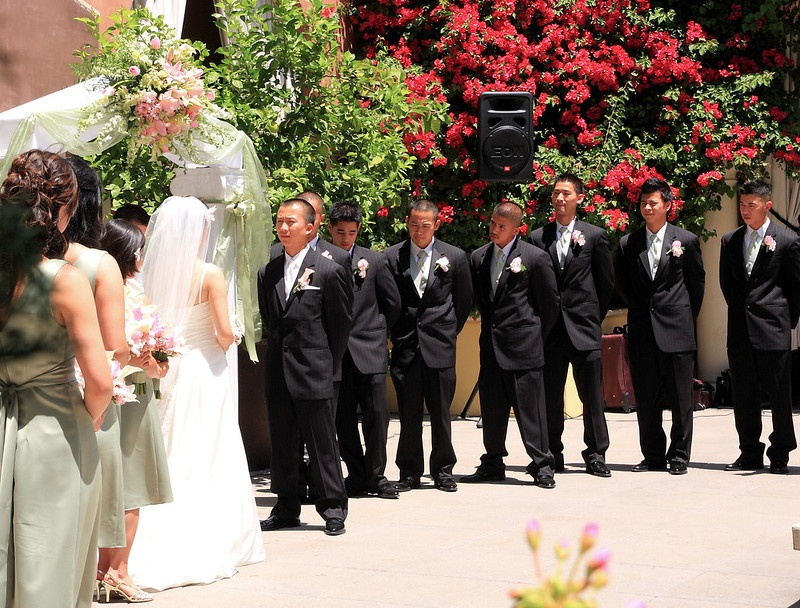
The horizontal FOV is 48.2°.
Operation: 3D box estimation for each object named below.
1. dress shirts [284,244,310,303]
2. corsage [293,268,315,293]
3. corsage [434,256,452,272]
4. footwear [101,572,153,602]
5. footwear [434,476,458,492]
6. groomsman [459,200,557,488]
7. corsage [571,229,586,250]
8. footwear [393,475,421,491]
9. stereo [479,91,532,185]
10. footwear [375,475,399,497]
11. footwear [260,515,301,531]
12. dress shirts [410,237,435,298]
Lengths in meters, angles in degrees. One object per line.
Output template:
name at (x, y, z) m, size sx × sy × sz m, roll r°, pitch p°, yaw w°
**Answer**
dress shirts at (-0.670, -0.189, 5.933) m, size 0.160 × 0.337 × 0.072 m, roll 9°, pitch 1°, yaw 30°
corsage at (-0.622, -0.156, 5.787) m, size 0.112 × 0.072 × 0.162 m, roll -2°, pitch -18°, yaw -7°
corsage at (0.337, -0.313, 7.087) m, size 0.115 × 0.124 × 0.084 m, roll -1°, pitch 2°, yaw -5°
footwear at (-1.397, 1.483, 4.743) m, size 0.333 × 0.178 × 0.118 m, roll 3°, pitch -1°, yaw -14°
footwear at (0.360, 1.412, 7.094) m, size 0.207 × 0.107 × 0.208 m, roll -1°, pitch 2°, yaw 10°
groomsman at (0.885, 0.320, 7.251) m, size 0.773 × 2.254 × 0.553 m, roll -1°, pitch 3°, yaw 11°
corsage at (1.478, -0.543, 7.389) m, size 0.118 × 0.150 × 0.087 m, roll -3°, pitch 3°, yaw -38°
footwear at (0.065, 1.431, 7.162) m, size 0.222 × 0.094 × 0.086 m, roll 6°, pitch 33°, yaw -41°
stereo at (0.943, -1.433, 7.870) m, size 0.466 × 0.795 × 0.426 m, roll 0°, pitch 1°, yaw 3°
footwear at (-0.107, 1.412, 6.935) m, size 0.181 × 0.131 × 0.256 m, roll -1°, pitch 2°, yaw -8°
footwear at (-0.810, 1.472, 6.066) m, size 0.274 × 0.110 × 0.100 m, roll 4°, pitch -4°, yaw -19°
dress shirts at (0.184, -0.295, 7.192) m, size 0.202 × 0.422 × 0.097 m, roll 7°, pitch 8°, yaw 39°
